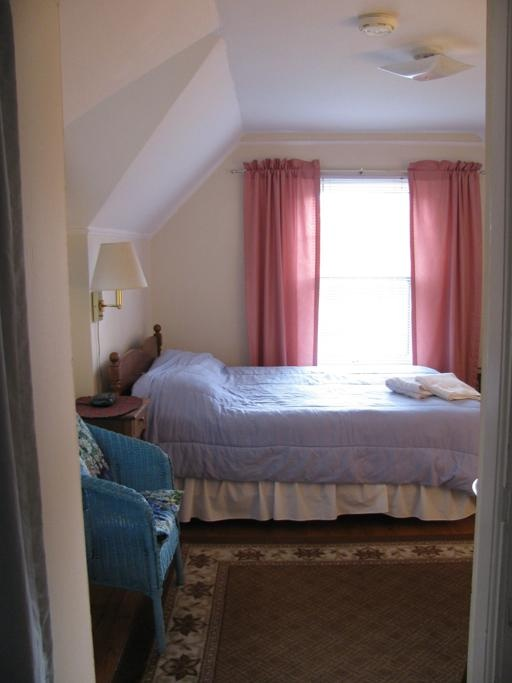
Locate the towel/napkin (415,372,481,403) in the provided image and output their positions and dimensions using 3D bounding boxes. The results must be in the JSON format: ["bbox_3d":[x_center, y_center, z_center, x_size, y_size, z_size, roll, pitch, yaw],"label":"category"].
[{"bbox_3d":[1.085,0.255,3.304,0.193,0.054,0.198,1,12,-23],"label":"towel/napkin"}]

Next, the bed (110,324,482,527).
[{"bbox_3d":[0.238,0.488,3.134,1.200,0.471,1.050,-1,10,-1],"label":"bed"}]

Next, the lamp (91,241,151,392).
[{"bbox_3d":[-0.727,-0.178,3.087,0.263,0.692,0.588,-2,7,-16],"label":"lamp"}]
